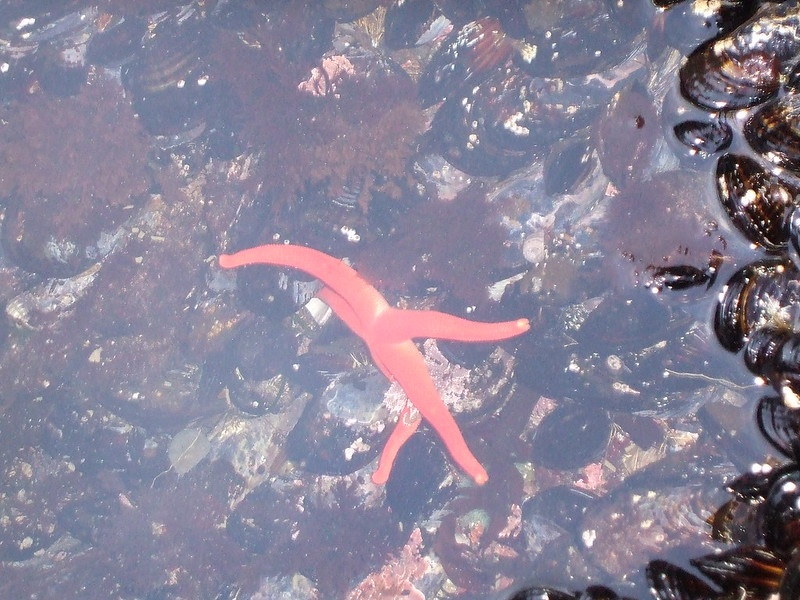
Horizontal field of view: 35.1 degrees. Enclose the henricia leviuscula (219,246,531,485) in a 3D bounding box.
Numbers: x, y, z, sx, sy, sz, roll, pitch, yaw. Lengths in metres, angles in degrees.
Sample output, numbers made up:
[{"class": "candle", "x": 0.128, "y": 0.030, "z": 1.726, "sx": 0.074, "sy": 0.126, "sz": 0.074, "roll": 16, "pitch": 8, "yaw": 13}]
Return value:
[{"class": "henricia leviuscula", "x": -0.055, "y": 0.182, "z": 13.708, "sx": 3.491, "sy": 0.402, "sz": 1.467, "roll": 39, "pitch": 81, "yaw": 8}]
